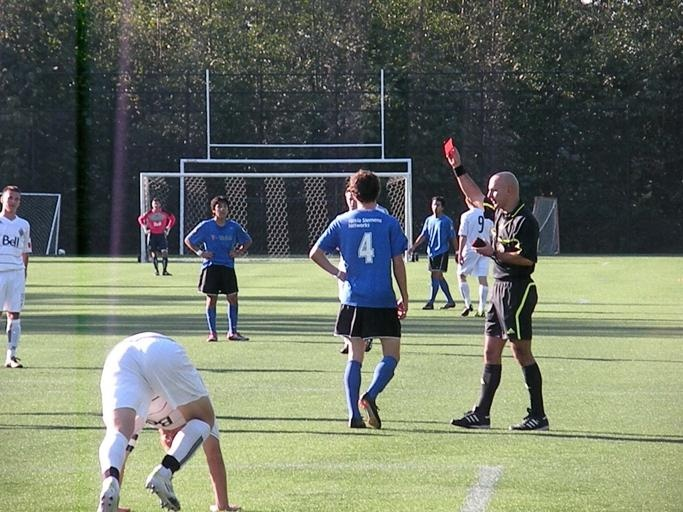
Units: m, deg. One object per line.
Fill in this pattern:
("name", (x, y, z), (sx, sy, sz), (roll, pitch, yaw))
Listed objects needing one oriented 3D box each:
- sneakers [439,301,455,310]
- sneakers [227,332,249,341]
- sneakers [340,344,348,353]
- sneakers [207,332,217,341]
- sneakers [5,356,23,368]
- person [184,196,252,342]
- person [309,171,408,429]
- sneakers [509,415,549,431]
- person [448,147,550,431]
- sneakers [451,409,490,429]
("sneakers", (1.940, 0.910, 19.697), (0.292, 0.153, 0.114), (3, 1, 24))
("sneakers", (-1.547, 1.209, 15.997), (0.312, 0.165, 0.134), (2, 3, -8))
("sneakers", (0.034, 1.310, 15.137), (0.068, 0.096, 0.222), (2, 1, -3))
("sneakers", (-1.936, 1.203, 15.927), (0.096, 0.094, 0.196), (2, 3, -7))
("sneakers", (-4.252, 1.381, 13.979), (0.103, 0.153, 0.328), (4, 4, 20))
("person", (-1.906, 0.146, 16.558), (0.946, 2.207, 1.560), (0, 1, -6))
("person", (0.235, 0.469, 11.868), (0.953, 2.848, 0.836), (1, 1, 3))
("sneakers", (2.050, 1.835, 11.718), (0.421, 0.225, 0.156), (2, -3, -3))
("person", (1.809, 0.467, 11.909), (1.008, 2.866, 0.997), (1, 1, 8))
("sneakers", (1.429, 1.815, 11.835), (0.478, 0.265, 0.176), (3, -5, -3))
